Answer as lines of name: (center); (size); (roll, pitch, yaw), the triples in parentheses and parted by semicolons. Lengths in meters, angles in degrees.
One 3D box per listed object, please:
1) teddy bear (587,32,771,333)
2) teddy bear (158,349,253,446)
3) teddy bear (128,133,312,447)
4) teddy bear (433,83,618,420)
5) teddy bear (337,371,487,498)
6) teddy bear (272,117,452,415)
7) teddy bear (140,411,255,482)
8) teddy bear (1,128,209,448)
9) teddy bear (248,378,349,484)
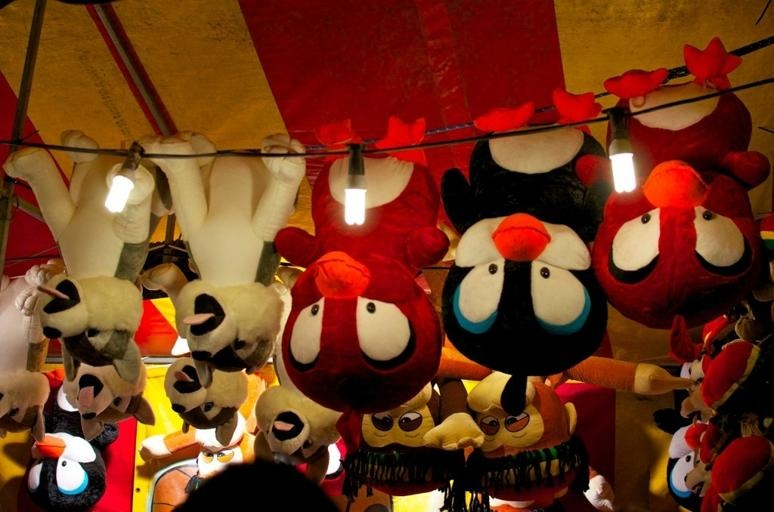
teddy bear: (1.507, -0.366, 3.630); (0.889, 1.369, 0.691); (0, -22, 8)
teddy bear: (-1.248, 0.999, 4.942); (0.514, 0.554, 0.602); (10, 0, 3)
teddy bear: (-0.930, 0.118, 4.032); (0.955, 1.432, 0.512); (4, -4, -35)
teddy bear: (0.834, 0.014, 3.952); (0.941, 1.677, 0.747); (-2, -18, 28)
teddy bear: (0.187, 1.093, 4.662); (0.957, 0.985, 0.562); (-1, -21, 15)
teddy bear: (-0.061, 0.046, 4.081); (0.919, 1.640, 0.725); (0, -21, 11)
teddy bear: (-1.415, 1.717, 6.196); (1.339, 0.573, 0.520); (2, 7, -17)
teddy bear: (-1.640, 0.083, 4.045); (0.626, 1.869, 1.294); (8, -27, -26)
teddy bear: (-0.584, 1.221, 4.646); (0.575, 0.503, 0.706); (11, -53, 4)
